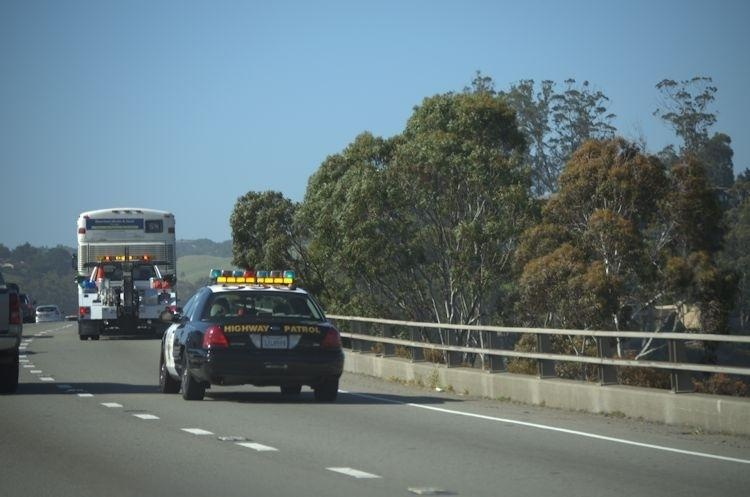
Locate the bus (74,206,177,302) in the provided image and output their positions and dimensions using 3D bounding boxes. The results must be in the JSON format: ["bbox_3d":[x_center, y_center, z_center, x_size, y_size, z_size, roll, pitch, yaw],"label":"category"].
[{"bbox_3d":[-9.834,0.213,40.145,3.077,3.068,2.260,0,0,-10],"label":"bus"}]

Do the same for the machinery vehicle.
[{"bbox_3d":[-10.438,1.383,43.789,3.752,3.484,7.099,0,9,-12],"label":"machinery vehicle"}]

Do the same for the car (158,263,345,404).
[{"bbox_3d":[-2.572,1.789,21.852,3.795,2.804,2.144,1,-4,-1],"label":"car"}]
